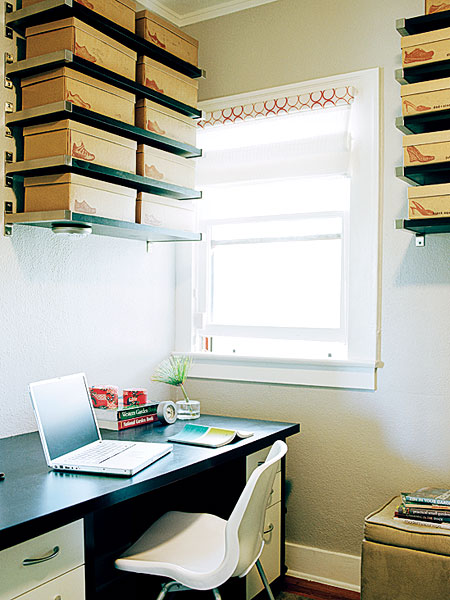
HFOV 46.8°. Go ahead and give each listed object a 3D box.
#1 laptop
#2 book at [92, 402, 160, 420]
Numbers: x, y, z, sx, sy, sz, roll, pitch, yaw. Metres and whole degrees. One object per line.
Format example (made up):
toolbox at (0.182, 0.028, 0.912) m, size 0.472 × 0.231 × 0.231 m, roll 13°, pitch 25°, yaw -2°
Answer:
laptop at (-0.330, 0.357, 1.414) m, size 0.293 × 0.235 × 0.281 m, roll 3°, pitch 0°, yaw 10°
book at (-0.368, 0.402, 1.887) m, size 0.125 × 0.027 × 0.126 m, roll -1°, pitch 0°, yaw 28°
